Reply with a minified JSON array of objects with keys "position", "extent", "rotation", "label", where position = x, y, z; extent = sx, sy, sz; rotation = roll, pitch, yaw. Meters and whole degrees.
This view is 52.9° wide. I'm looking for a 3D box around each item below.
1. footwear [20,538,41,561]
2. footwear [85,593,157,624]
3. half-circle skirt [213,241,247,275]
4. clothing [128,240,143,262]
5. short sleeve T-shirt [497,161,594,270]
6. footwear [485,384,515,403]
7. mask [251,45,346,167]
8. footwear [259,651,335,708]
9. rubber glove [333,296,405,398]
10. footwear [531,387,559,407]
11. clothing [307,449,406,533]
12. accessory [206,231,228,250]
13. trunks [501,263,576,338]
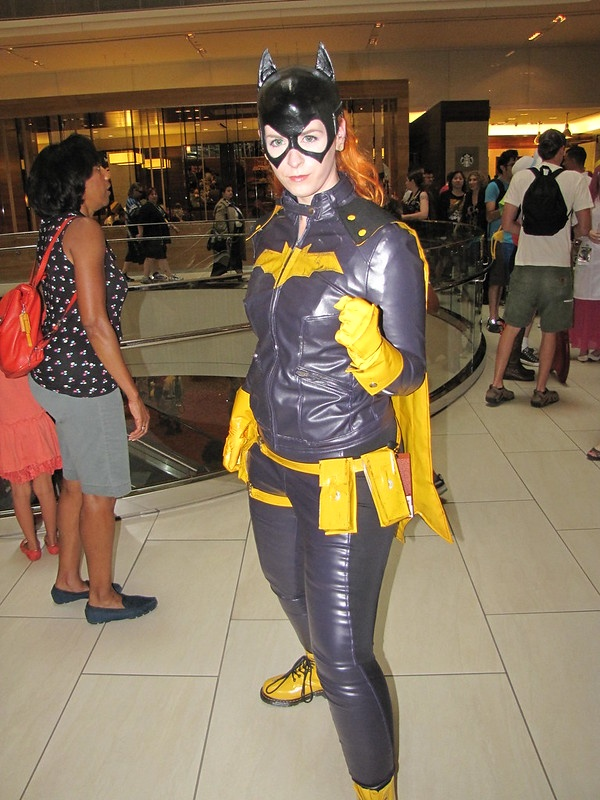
[{"position":[-1.132,0.611,2.536],"extent":[0.059,0.042,0.113],"rotation":[-21,47,-26],"label":"footwear"},{"position":[-0.604,0.708,2.085],"extent":[0.262,0.095,0.091],"rotation":[-4,9,-21],"label":"footwear"},{"position":[-0.932,-1.932,8.163],"extent":[0.501,0.567,0.329],"rotation":[2,-7,4],"label":"half-circle skirt"},{"position":[-2.232,-2.047,8.213],"extent":[0.165,0.183,0.122],"rotation":[38,52,14],"label":"clothing"},{"position":[1.639,-1.216,3.994],"extent":[0.521,0.673,0.249],"rotation":[0,14,16],"label":"short sleeve T-shirt"},{"position":[1.433,-0.049,4.321],"extent":[0.266,0.106,0.097],"rotation":[-15,19,-43],"label":"footwear"},{"position":[0.000,-0.514,1.044],"extent":[0.145,0.230,0.223],"rotation":[-3,13,4],"label":"mask"},{"position":[-0.008,0.734,1.609],"extent":[0.210,0.120,0.100],"rotation":[14,-2,-37],"label":"footwear"},{"position":[0.102,-0.084,0.867],"extent":[0.075,0.067,0.130],"rotation":[29,-7,21],"label":"rubber glove"},{"position":[1.699,-0.027,4.192],"extent":[0.096,0.102,0.241],"rotation":[14,24,42],"label":"footwear"},{"position":[0.107,0.151,0.972],"extent":[0.161,0.122,0.090],"rotation":[-5,13,-4],"label":"clothing"},{"position":[-1.125,-2.164,8.249],"extent":[0.310,0.378,0.220],"rotation":[-6,16,-21],"label":"accessory"},{"position":[1.659,-0.731,4.136],"extent":[0.476,0.430,0.283],"rotation":[14,29,34],"label":"trunks"}]
